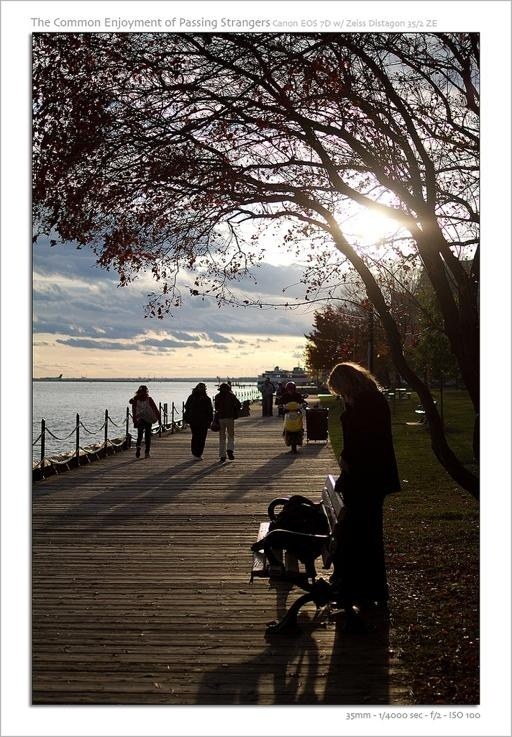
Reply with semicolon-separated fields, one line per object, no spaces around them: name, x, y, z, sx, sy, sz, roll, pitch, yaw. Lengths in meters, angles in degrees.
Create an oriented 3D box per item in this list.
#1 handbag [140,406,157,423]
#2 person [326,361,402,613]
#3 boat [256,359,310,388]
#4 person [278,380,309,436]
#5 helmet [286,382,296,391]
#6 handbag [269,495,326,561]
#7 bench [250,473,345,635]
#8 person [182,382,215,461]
handbag;-2.504;1.076;16.133;0.372;0.445;0.500;-1;3;-6
person;0.875;1.010;5.582;0.566;2.114;0.655;0;3;10
boat;5.034;1.361;107.461;7.069;2.767;3.838;1;4;25
person;0.963;0.916;19.606;0.999;1.073;1.649;1;1;6
helmet;0.975;0.483;18.881;0.200;0.240;0.240;-3;-8;1
handbag;0.349;1.358;5.864;0.306;0.562;0.422;12;26;-11
bench;0.394;1.607;6.165;0.738;0.943;1.758;1;-2;0
person;-1.374;1.282;16.607;0.691;1.956;1.281;-1;3;-5
